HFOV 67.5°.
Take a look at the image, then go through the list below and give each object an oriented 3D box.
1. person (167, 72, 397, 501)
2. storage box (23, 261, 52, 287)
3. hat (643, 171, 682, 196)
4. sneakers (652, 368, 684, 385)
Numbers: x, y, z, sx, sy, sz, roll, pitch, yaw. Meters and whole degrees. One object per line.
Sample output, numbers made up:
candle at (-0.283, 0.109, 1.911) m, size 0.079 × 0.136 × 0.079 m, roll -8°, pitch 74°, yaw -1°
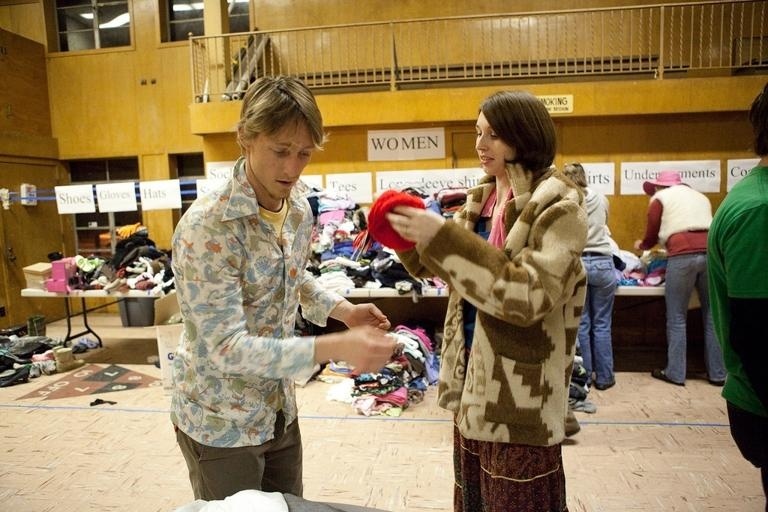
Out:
person at (-0.652, 0.263, 3.303) m, size 1.183 × 2.558 × 0.673 m, roll -5°, pitch 7°, yaw -16°
storage box at (-4.507, 0.254, 7.757) m, size 0.334 × 0.296 × 0.338 m, roll 4°, pitch 15°, yaw 13°
hat at (3.292, -0.887, 6.939) m, size 0.399 × 0.173 × 0.448 m, roll -9°, pitch -7°, yaw -32°
sneakers at (3.229, 1.379, 6.573) m, size 0.100 × 0.104 × 0.266 m, roll -2°, pitch 17°, yaw -27°
